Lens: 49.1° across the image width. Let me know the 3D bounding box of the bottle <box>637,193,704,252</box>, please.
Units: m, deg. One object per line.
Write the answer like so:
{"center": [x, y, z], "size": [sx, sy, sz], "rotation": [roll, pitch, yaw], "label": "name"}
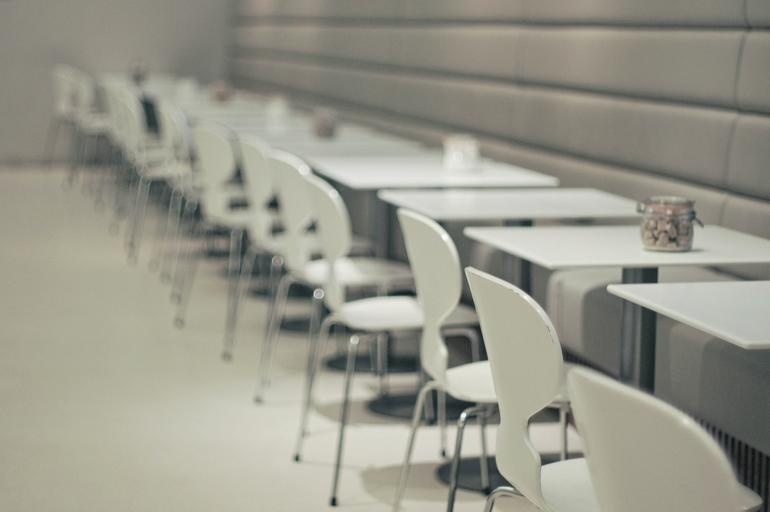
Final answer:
{"center": [0.640, -0.077, 1.910], "size": [0.138, 0.129, 0.114], "rotation": [1, 2, -2], "label": "bottle"}
